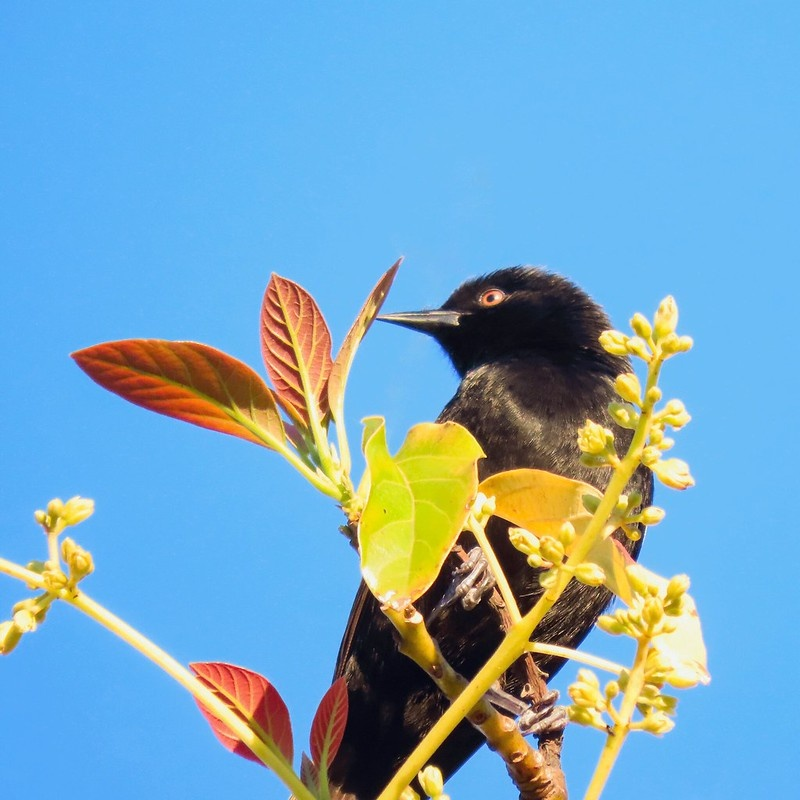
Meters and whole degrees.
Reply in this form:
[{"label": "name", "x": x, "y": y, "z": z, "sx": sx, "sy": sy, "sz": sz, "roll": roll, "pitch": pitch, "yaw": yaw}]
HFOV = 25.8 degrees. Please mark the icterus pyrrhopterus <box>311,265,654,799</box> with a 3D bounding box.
[{"label": "icterus pyrrhopterus", "x": 0.206, "y": 0.377, "z": 4.083, "sx": 0.389, "sy": 0.616, "sz": 1.469, "roll": 15, "pitch": -62, "yaw": -27}]
